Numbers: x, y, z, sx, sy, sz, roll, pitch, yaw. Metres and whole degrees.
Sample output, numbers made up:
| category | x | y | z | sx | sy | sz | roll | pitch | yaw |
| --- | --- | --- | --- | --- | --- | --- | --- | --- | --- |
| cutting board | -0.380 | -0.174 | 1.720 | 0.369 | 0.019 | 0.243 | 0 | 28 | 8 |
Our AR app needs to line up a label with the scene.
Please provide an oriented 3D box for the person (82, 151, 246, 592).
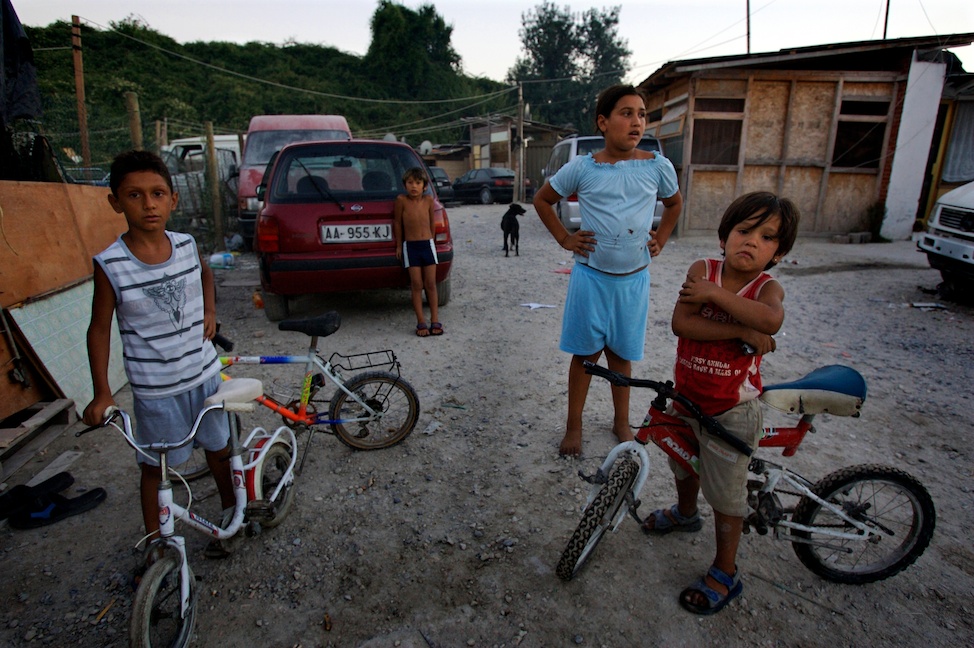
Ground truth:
| category | x | y | z | sx | sy | sz | roll | pitch | yaw |
| --- | --- | --- | --- | --- | --- | --- | --- | --- | --- |
| person | -2.004 | 0.248 | 4.151 | 0.867 | 2.531 | 0.724 | -19 | 25 | -36 |

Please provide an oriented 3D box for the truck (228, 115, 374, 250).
| category | x | y | z | sx | sy | sz | roll | pitch | yaw |
| --- | --- | --- | --- | --- | --- | --- | --- | --- | --- |
| truck | -3.292 | -2.695 | 11.740 | 1.919 | 1.957 | 3.589 | -1 | 19 | -7 |

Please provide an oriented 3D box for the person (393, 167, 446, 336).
| category | x | y | z | sx | sy | sz | roll | pitch | yaw |
| --- | --- | --- | --- | --- | --- | --- | --- | --- | --- |
| person | -0.688 | -0.722 | 6.859 | 0.434 | 1.674 | 0.423 | -10 | 21 | -18 |

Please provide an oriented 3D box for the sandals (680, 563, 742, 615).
| category | x | y | z | sx | sy | sz | roll | pitch | yaw |
| --- | --- | --- | --- | --- | --- | --- | --- | --- | --- |
| sandals | 1.365 | 1.631 | 4.061 | 0.399 | 0.171 | 0.198 | -21 | 26 | -14 |

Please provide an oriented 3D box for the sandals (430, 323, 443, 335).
| category | x | y | z | sx | sy | sz | roll | pitch | yaw |
| --- | --- | --- | --- | --- | --- | --- | --- | --- | --- |
| sandals | -0.547 | 0.045 | 7.013 | 0.110 | 0.078 | 0.202 | -2 | 2 | -6 |

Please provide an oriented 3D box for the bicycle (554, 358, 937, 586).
| category | x | y | z | sx | sy | sz | roll | pitch | yaw |
| --- | --- | --- | --- | --- | --- | --- | --- | --- | --- |
| bicycle | 1.626 | 0.952 | 4.256 | 2.340 | 1.454 | 1.143 | 3 | 19 | 11 |

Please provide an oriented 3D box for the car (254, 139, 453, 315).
| category | x | y | z | sx | sy | sz | roll | pitch | yaw |
| --- | --- | --- | --- | --- | --- | --- | --- | --- | --- |
| car | -1.704 | -1.306 | 7.494 | 1.379 | 1.234 | 2.521 | -2 | 25 | -11 |

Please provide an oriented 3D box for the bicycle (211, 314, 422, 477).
| category | x | y | z | sx | sy | sz | roll | pitch | yaw |
| --- | --- | --- | --- | --- | --- | --- | --- | --- | --- |
| bicycle | -1.470 | 0.517 | 4.911 | 1.882 | 1.129 | 0.829 | -4 | 15 | -15 |

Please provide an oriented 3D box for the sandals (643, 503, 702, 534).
| category | x | y | z | sx | sy | sz | roll | pitch | yaw |
| --- | --- | --- | --- | --- | --- | --- | --- | --- | --- |
| sandals | 1.230 | 1.312 | 4.539 | 0.455 | 0.196 | 0.168 | 2 | 3 | 4 |

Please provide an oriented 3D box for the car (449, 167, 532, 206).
| category | x | y | z | sx | sy | sz | roll | pitch | yaw |
| --- | --- | --- | --- | --- | --- | --- | --- | --- | --- |
| car | -0.023 | -4.484 | 21.870 | 2.186 | 0.732 | 1.015 | 18 | 28 | 38 |

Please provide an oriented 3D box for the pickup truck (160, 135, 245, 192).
| category | x | y | z | sx | sy | sz | roll | pitch | yaw |
| --- | --- | --- | --- | --- | --- | --- | --- | --- | --- |
| pickup truck | -6.413 | -3.641 | 15.683 | 1.920 | 1.092 | 1.137 | 2 | -15 | 6 |

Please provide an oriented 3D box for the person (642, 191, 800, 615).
| category | x | y | z | sx | sy | sz | roll | pitch | yaw |
| --- | --- | --- | --- | --- | --- | --- | --- | --- | --- |
| person | 1.390 | 0.463 | 4.050 | 0.667 | 2.399 | 0.962 | 7 | 22 | 25 |

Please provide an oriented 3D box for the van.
| category | x | y | z | sx | sy | sz | roll | pitch | yaw |
| --- | --- | --- | --- | --- | --- | --- | --- | --- | --- |
| van | 2.078 | -3.215 | 12.826 | 2.254 | 1.835 | 3.719 | -3 | 22 | -1 |
